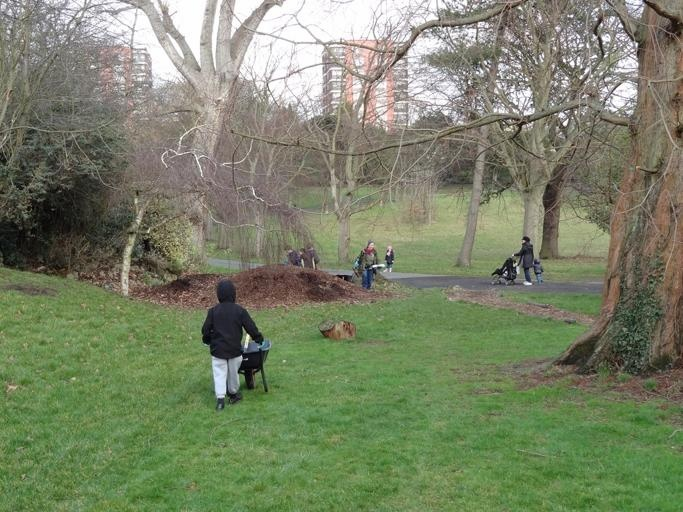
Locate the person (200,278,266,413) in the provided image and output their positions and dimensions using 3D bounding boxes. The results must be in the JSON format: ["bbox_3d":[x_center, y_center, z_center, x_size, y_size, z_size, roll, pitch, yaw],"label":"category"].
[{"bbox_3d":[-2.063,1.667,14.979,0.784,2.409,1.173,0,0,-22],"label":"person"}]

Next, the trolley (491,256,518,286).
[{"bbox_3d":[6.528,0.558,31.158,0.888,1.210,1.472,3,10,11],"label":"trolley"}]
